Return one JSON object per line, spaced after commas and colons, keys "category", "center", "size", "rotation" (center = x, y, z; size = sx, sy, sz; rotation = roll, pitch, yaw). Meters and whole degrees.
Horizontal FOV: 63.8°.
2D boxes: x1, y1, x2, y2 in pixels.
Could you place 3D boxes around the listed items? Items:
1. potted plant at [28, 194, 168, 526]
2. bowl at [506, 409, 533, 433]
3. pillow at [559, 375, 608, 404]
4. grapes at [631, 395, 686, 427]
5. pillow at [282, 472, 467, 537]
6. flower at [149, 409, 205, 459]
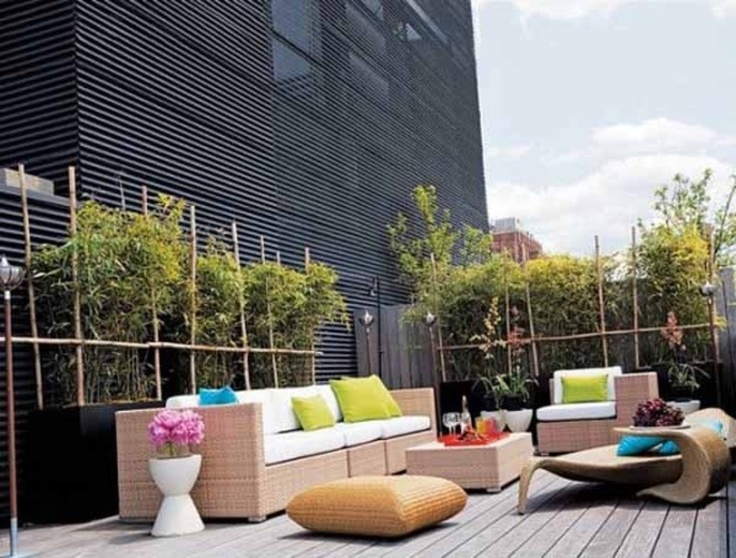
{"category": "potted plant", "center": [-2.402, 0.824, 5.058], "size": [0.584, 2.802, 0.892], "rotation": [-1, -2, 34]}
{"category": "bowl", "center": [1.969, 1.861, 7.678], "size": [0.282, 0.244, 0.302], "rotation": [-1, -15, 0]}
{"category": "pillow", "center": [2.568, 1.302, 6.952], "size": [0.308, 0.124, 0.230], "rotation": [-9, 36, 20]}
{"category": "grapes", "center": [2.114, 0.952, 4.352], "size": [0.208, 0.142, 0.286], "rotation": [1, -8, -10]}
{"category": "pillow", "center": [0.103, 1.480, 4.163], "size": [1.021, 0.398, 1.060], "rotation": [-9, -12, 34]}
{"category": "flower", "center": [-1.402, 1.095, 4.438], "size": [0.352, 0.424, 0.391], "rotation": [-3, -6, 6]}
